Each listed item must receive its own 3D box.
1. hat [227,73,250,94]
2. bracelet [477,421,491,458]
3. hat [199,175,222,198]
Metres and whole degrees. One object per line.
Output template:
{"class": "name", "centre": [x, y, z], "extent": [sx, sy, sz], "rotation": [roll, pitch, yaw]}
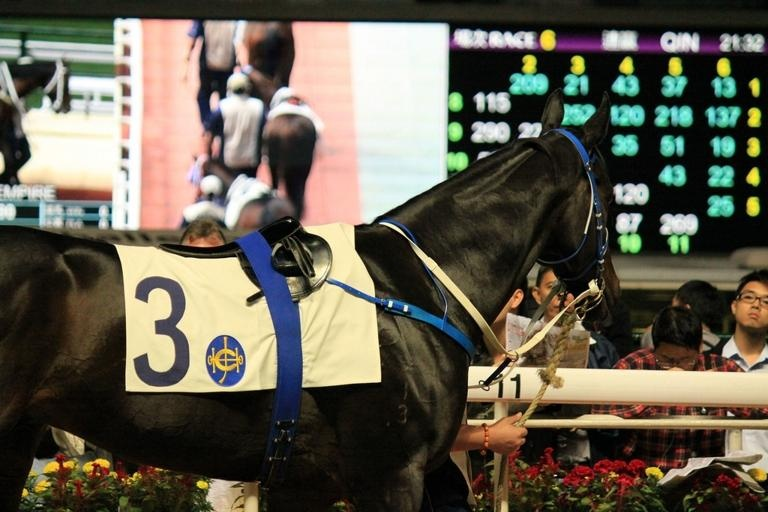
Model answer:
{"class": "hat", "centre": [-1.300, -1.549, 14.146], "extent": [0.180, 0.184, 0.195], "rotation": [0, -3, -5]}
{"class": "bracelet", "centre": [0.683, 1.233, 10.591], "extent": [0.064, 0.154, 0.149], "rotation": [-5, 10, 3]}
{"class": "hat", "centre": [-1.521, -0.629, 14.050], "extent": [0.221, 0.182, 0.192], "rotation": [-5, 30, -1]}
